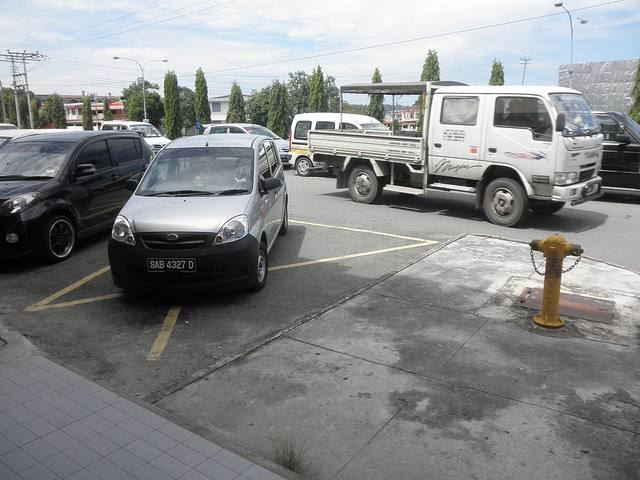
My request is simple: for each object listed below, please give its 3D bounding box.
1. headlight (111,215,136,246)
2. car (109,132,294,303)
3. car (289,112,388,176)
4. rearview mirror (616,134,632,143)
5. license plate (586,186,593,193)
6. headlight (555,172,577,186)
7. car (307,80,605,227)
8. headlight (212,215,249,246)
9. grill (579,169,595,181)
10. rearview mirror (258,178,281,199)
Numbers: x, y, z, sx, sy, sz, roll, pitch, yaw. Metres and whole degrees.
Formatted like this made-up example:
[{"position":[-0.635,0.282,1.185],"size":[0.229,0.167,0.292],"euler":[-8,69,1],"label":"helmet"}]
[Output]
[{"position":[-2.695,-0.137,5.258],"size":[0.315,0.418,0.161],"euler":[-12,-6,33],"label":"headlight"},{"position":[-1.778,-0.474,6.139],"size":[2.070,2.334,2.691],"euler":[2,15,9],"label":"car"},{"position":[-0.232,-4.970,19.736],"size":[5.869,2.847,2.936],"euler":[-15,24,-40],"label":"car"},{"position":[9.072,-3.005,11.509],"size":[0.401,0.285,0.276],"euler":[5,-12,-6],"label":"rearview mirror"},{"position":[6.606,-1.229,9.355],"size":[0.355,0.152,0.032],"euler":[-14,20,-42],"label":"license plate"},{"position":[5.698,-1.411,8.858],"size":[0.717,0.303,0.161],"euler":[-9,17,-31],"label":"headlight"},{"position":[3.496,-2.674,11.063],"size":[7.742,3.771,2.325],"euler":[10,18,34],"label":"car"},{"position":[-1.225,-0.133,5.234],"size":[0.451,0.171,0.314],"euler":[-11,4,43],"label":"headlight"},{"position":[6.542,-1.591,9.386],"size":[0.441,0.392,0.121],"euler":[-4,13,-18],"label":"grill"},{"position":[-0.808,-0.864,6.218],"size":[0.319,0.122,0.319],"euler":[-16,20,21],"label":"rearview mirror"}]
